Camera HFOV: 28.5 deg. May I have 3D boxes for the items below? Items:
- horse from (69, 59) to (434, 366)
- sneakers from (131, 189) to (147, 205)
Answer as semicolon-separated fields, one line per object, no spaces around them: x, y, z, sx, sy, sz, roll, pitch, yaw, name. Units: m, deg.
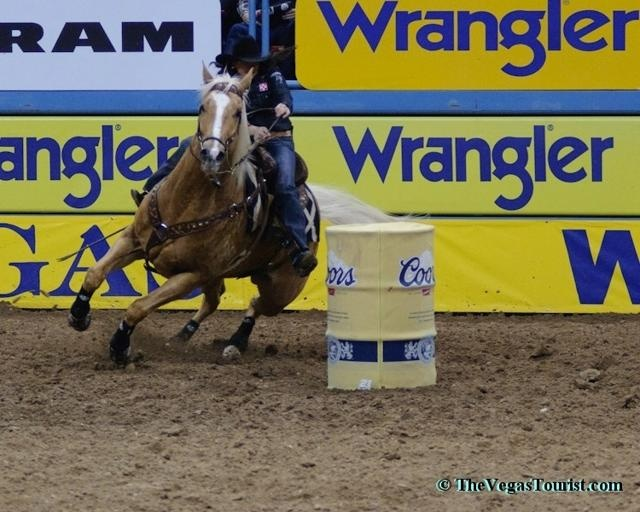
-0.994;-0.397;12.411;1.395;3.015;2.843;15;27;38;horse
-1.849;-0.601;12.792;0.104;0.239;0.077;16;12;-6;sneakers
